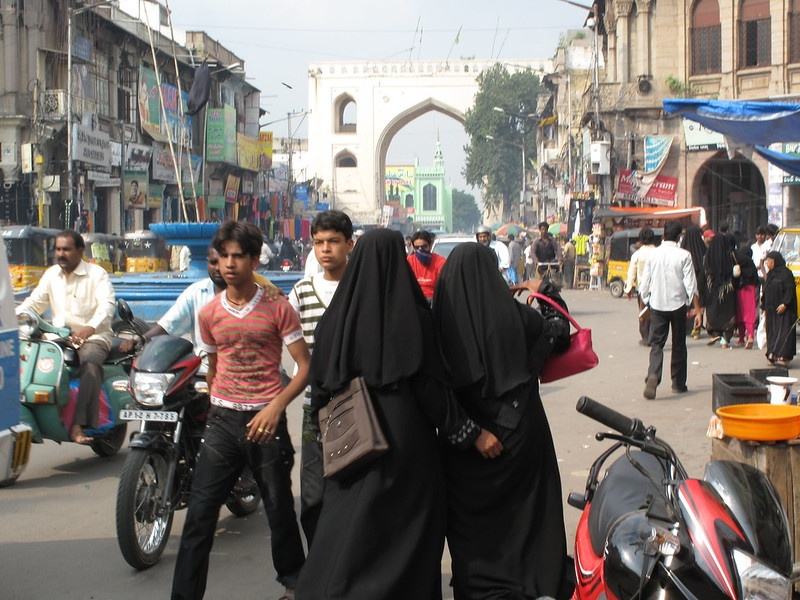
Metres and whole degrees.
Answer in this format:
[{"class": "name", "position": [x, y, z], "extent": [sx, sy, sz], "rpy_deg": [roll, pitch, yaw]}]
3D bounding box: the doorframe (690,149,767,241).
[{"class": "doorframe", "position": [9.655, -2.757, 26.682], "extent": [2.353, 2.945, 0.130], "rpy_deg": [-5, 35, 12]}]

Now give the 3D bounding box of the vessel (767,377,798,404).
[{"class": "vessel", "position": [2.490, 0.581, 5.909], "extent": [0.205, 0.177, 0.228], "rpy_deg": [0, -3, -3]}]

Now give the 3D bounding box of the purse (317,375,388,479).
[{"class": "purse", "position": [-0.213, 0.606, 4.319], "extent": [0.302, 0.373, 0.123], "rpy_deg": [-35, -39, 24]}]

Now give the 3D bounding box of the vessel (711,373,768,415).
[{"class": "vessel", "position": [2.245, 0.639, 5.966], "extent": [0.218, 0.257, 0.719], "rpy_deg": [-1, 4, 11]}]

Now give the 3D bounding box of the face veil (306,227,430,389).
[{"class": "face veil", "position": [-0.052, -0.026, 4.694], "extent": [0.737, 1.141, 0.669], "rpy_deg": [1, 5, 5]}]

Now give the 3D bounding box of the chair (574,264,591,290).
[{"class": "chair", "position": [5.429, -0.708, 26.862], "extent": [0.576, 0.996, 0.638], "rpy_deg": [0, -4, -2]}]

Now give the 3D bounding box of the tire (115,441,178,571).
[{"class": "tire", "position": [-1.513, 1.230, 5.458], "extent": [0.316, 0.732, 0.525], "rpy_deg": [-4, 7, -7]}]

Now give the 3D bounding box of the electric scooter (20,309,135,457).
[{"class": "electric scooter", "position": [-2.494, 0.681, 7.235], "extent": [0.630, 1.047, 1.445], "rpy_deg": [-3, -1, 13]}]

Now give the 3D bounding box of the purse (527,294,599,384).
[{"class": "purse", "position": [0.844, 0.195, 4.854], "extent": [0.371, 0.509, 0.188], "rpy_deg": [-19, 8, 15]}]

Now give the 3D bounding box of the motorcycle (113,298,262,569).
[{"class": "motorcycle", "position": [-1.321, 0.841, 6.067], "extent": [0.843, 1.531, 2.016], "rpy_deg": [-4, -3, 14]}]

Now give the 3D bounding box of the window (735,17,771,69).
[{"class": "window", "position": [9.494, -6.892, 24.064], "extent": [0.783, 1.289, 0.047], "rpy_deg": [-1, 10, 22]}]

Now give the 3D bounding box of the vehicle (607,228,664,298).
[{"class": "vehicle", "position": [5.460, -1.005, 22.672], "extent": [1.585, 1.738, 1.066], "rpy_deg": [-3, 13, -33]}]
